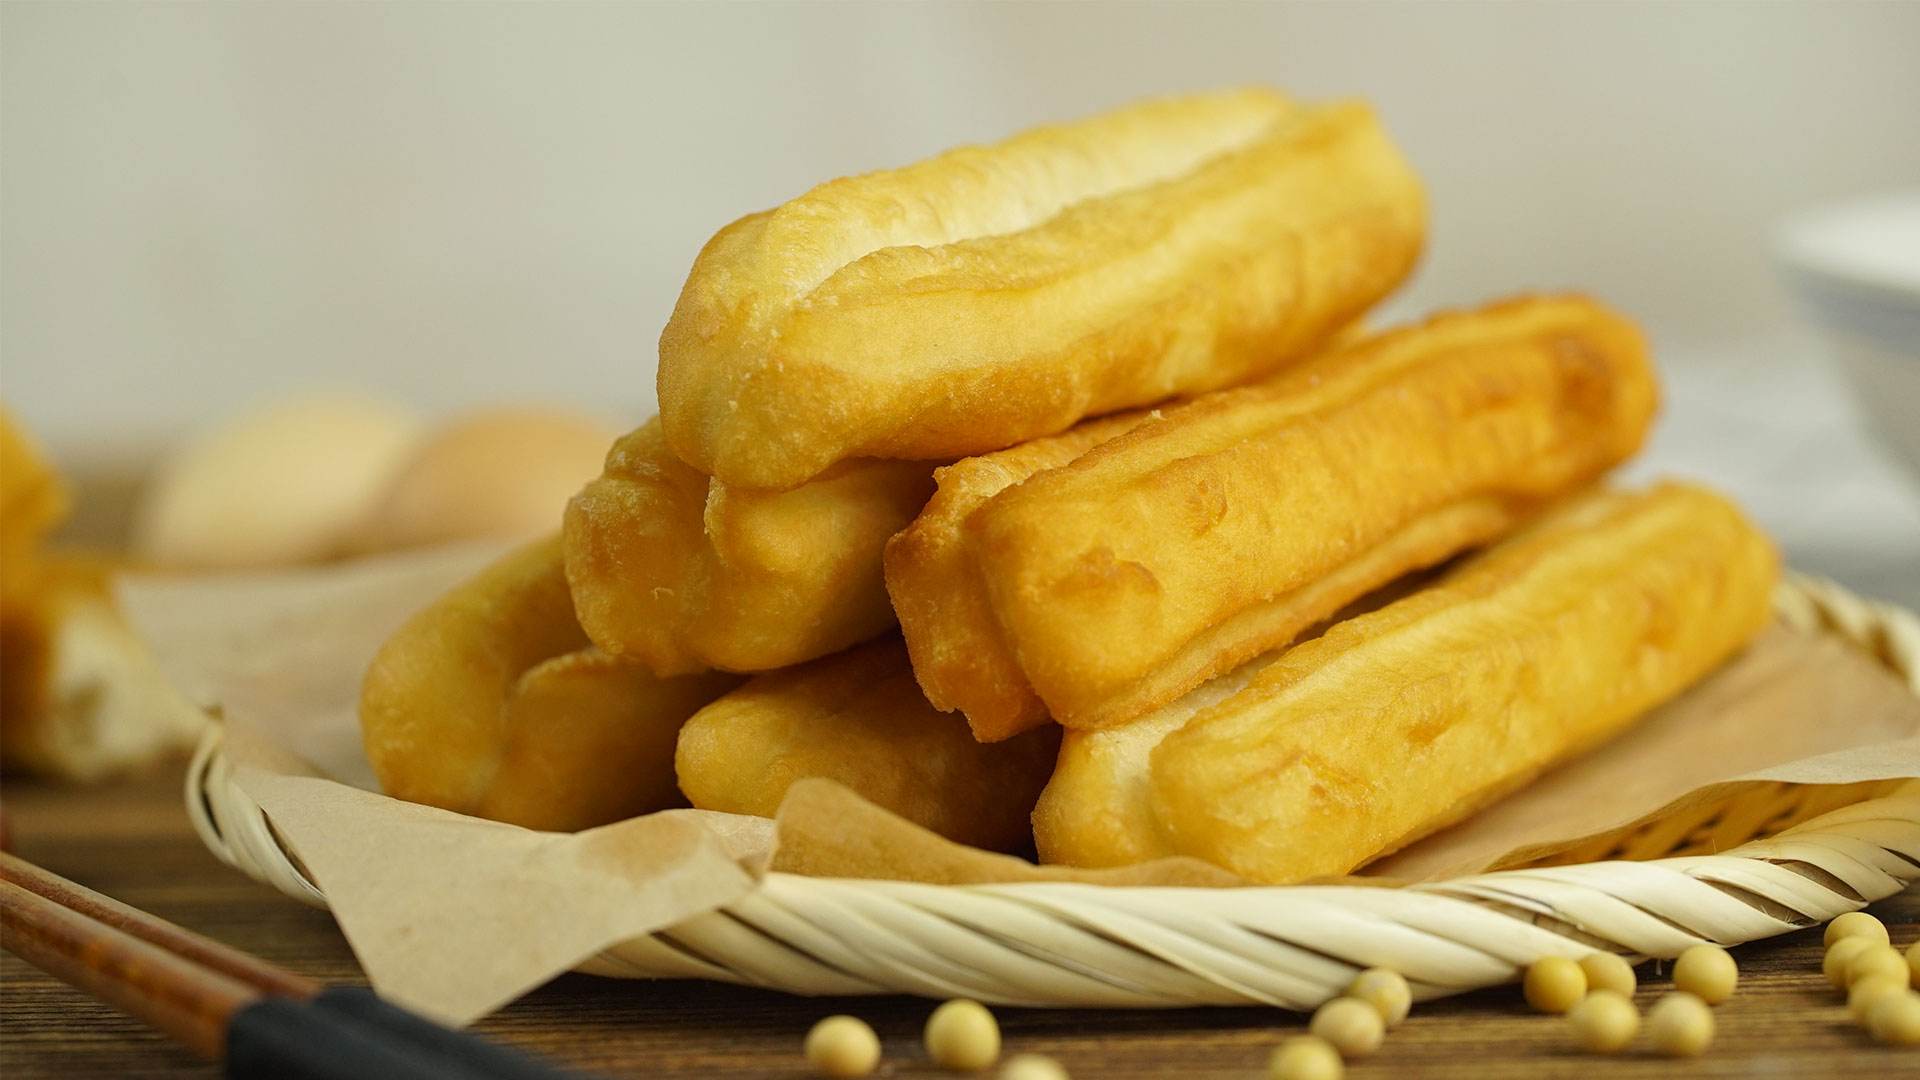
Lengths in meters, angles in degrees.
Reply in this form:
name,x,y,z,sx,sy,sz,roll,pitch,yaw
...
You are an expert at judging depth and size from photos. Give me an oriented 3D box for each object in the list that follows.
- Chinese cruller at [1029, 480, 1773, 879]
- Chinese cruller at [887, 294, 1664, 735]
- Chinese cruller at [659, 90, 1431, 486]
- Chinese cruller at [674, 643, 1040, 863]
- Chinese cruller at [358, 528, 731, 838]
name,x,y,z,sx,sy,sz,roll,pitch,yaw
Chinese cruller,0.320,0.082,1.243,0.538,0.130,0.150,-19,29,-20
Chinese cruller,0.222,-0.030,1.242,0.574,0.153,0.155,-22,28,-33
Chinese cruller,0.048,-0.137,1.221,0.428,0.111,0.182,-17,14,-31
Chinese cruller,-0.054,0.110,1.131,0.177,0.046,0.099,4,16,14
Chinese cruller,-0.224,0.100,1.181,0.178,0.067,0.168,29,48,20
